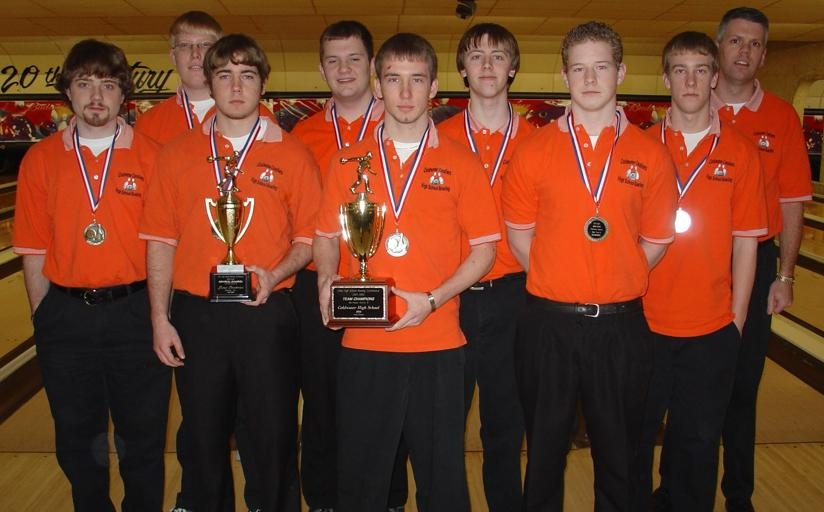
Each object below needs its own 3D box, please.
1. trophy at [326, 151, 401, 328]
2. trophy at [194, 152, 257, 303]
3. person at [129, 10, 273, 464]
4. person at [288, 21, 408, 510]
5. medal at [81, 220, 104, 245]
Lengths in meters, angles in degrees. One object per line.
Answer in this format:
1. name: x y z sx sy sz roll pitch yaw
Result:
1. trophy: -0.282 -0.101 3.522 0.355 0.922 0.432 1 2 9
2. trophy: -1.010 -0.141 3.477 0.281 0.801 0.279 -1 -1 -11
3. person: -1.377 -0.059 4.673 1.018 3.139 0.809 -1 12 -6
4. person: -0.429 0.038 4.507 0.977 2.864 0.908 0 -1 -6
5. medal: -1.825 -0.128 3.676 0.118 0.130 0.053 1 16 6
